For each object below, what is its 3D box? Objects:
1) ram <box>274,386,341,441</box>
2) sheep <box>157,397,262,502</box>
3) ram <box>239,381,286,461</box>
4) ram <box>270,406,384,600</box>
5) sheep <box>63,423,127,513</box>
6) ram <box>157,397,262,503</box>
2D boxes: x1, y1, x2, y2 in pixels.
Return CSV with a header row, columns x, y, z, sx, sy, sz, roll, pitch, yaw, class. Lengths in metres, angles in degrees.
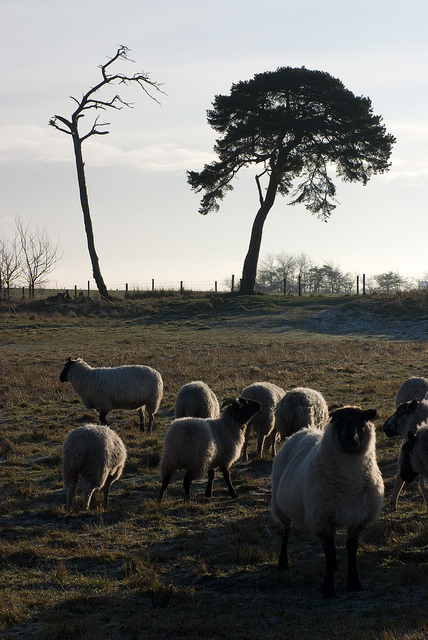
x,y,z,sx,sy,sz,roll,pitch,yaw,class
1.299,1.164,11.620,0.779,0.850,0.835,-7,5,-24,ram
-0.030,1.615,10.754,1.365,1.264,0.552,3,-6,-37,sheep
0.694,1.463,12.889,0.577,1.157,0.732,-1,6,-15,ram
0.922,1.534,8.125,0.696,1.560,1.869,1,-14,-14,ram
-1.430,1.837,10.628,0.604,1.196,1.389,-1,-10,13,sheep
-0.042,1.613,10.754,1.404,1.289,0.602,2,-3,-39,ram
